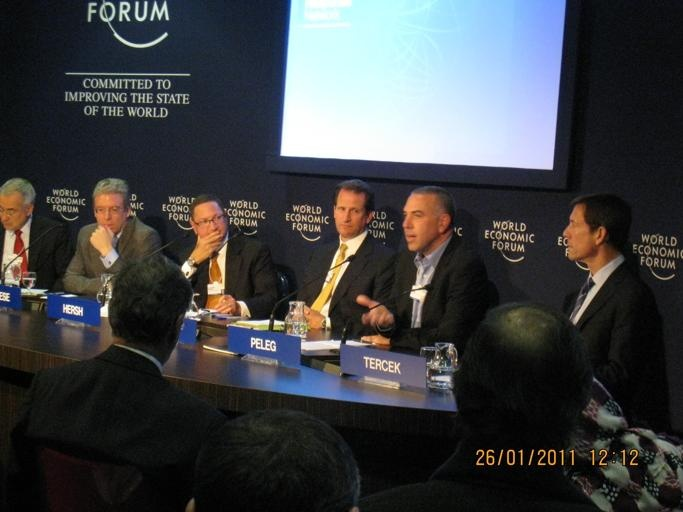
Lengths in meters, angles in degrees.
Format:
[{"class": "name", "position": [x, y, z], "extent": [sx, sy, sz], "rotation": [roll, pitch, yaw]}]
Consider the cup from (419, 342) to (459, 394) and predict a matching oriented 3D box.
[{"class": "cup", "position": [0.347, 0.388, 2.140], "extent": [0.103, 0.173, 0.163], "rotation": [-7, -13, 37]}]

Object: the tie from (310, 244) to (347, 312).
[{"class": "tie", "position": [-0.044, 0.116, 3.864], "extent": [0.093, 0.096, 0.894], "rotation": [7, 25, 9]}]

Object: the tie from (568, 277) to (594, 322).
[{"class": "tie", "position": [1.183, 0.220, 3.026], "extent": [0.033, 0.199, 0.049], "rotation": [18, -5, -6]}]

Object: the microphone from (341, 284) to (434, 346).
[{"class": "microphone", "position": [0.248, 0.286, 2.914], "extent": [0.330, 0.114, 0.247], "rotation": [-7, 8, -40]}]

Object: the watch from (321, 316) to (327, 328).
[{"class": "watch", "position": [-0.097, 0.346, 3.273], "extent": [0.031, 0.052, 0.049], "rotation": [0, 1, -2]}]

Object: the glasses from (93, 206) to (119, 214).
[{"class": "glasses", "position": [-1.640, -0.313, 4.293], "extent": [0.192, 0.056, 0.076], "rotation": [6, 8, 18]}]
